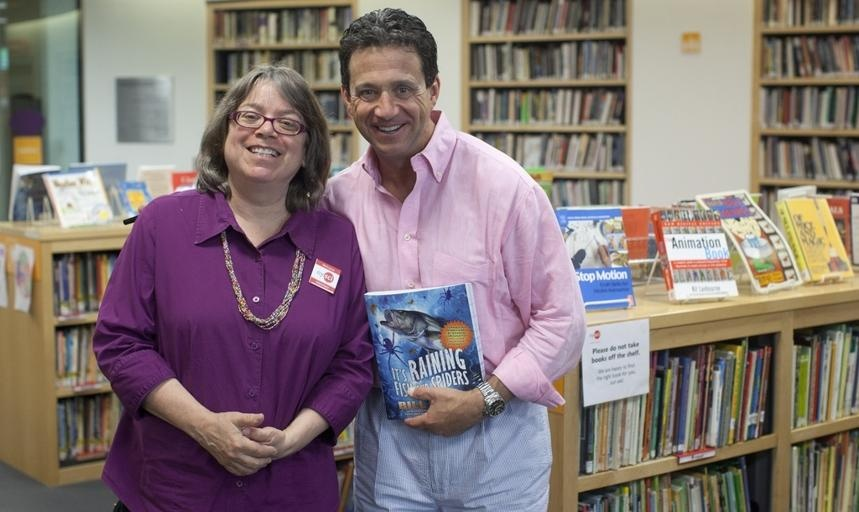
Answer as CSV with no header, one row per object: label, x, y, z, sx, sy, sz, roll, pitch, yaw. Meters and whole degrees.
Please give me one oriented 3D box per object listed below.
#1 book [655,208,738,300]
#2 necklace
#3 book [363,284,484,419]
book,1.639,-0.013,4.935,0.525,0.678,0.090,1,-22,-24
necklace,-0.831,0.112,4.085,0.414,0.505,0.150,-5,4,-15
book,0.001,0.467,4.072,0.516,0.673,0.091,-9,5,7
